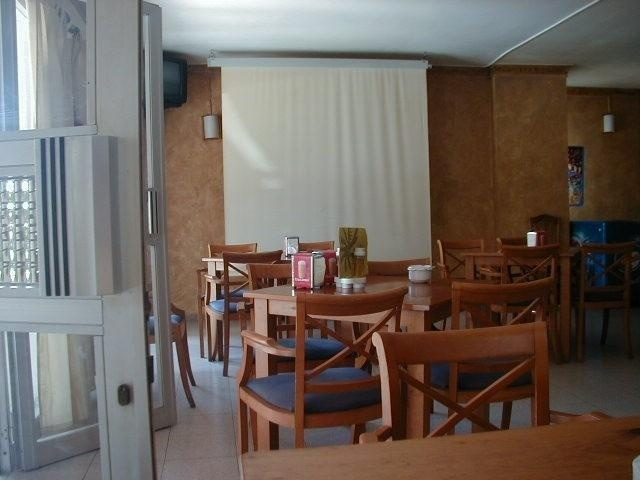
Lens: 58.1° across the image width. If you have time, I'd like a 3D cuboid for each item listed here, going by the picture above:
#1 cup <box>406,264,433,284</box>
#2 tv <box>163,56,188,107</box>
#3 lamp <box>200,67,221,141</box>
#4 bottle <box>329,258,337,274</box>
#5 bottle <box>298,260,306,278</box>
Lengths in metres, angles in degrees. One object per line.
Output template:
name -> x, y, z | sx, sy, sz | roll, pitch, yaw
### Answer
cup -> 0.504, 0.173, 2.952 | 0.097, 0.062, 0.090 | -2, -2, 0
tv -> -1.443, -1.660, 6.004 | 0.348, 0.496, 0.274 | 21, 26, 37
lamp -> -1.161, -1.465, 6.172 | 0.194, 0.781, 0.159 | -3, 3, -14
bottle -> 0.067, 0.131, 2.891 | 0.013, 0.080, 0.066 | -1, 3, 31
bottle -> -0.083, 0.140, 2.720 | 0.038, 0.088, 0.014 | -3, 3, 2
